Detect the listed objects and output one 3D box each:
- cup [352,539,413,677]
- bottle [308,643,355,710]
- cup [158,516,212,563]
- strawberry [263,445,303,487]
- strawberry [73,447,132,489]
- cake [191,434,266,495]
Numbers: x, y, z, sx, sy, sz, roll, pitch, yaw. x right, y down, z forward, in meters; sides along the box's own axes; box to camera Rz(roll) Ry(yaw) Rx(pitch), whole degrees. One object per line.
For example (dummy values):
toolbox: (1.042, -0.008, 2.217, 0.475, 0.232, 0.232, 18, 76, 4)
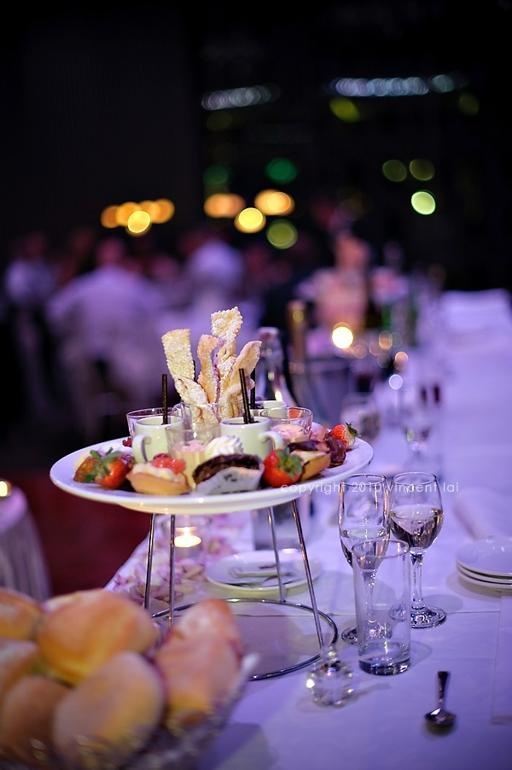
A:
cup: (0.138, 0.243, 0.783, 0.060, 0.140, 0.086, -2, 28, 10)
bottle: (0.076, 0.305, 0.737, 0.044, 0.040, 0.041, 1, -7, -22)
cup: (-0.132, 0.269, 1.260, 0.080, 0.054, 0.079, 0, -1, 0)
strawberry: (0.029, 0.096, 0.807, 0.049, 0.044, 0.040, -20, 53, 51)
strawberry: (-0.174, 0.099, 0.837, 0.051, 0.032, 0.055, -21, 25, -8)
cake: (-0.031, 0.086, 0.761, 0.057, 0.063, 0.031, -4, 66, -2)
